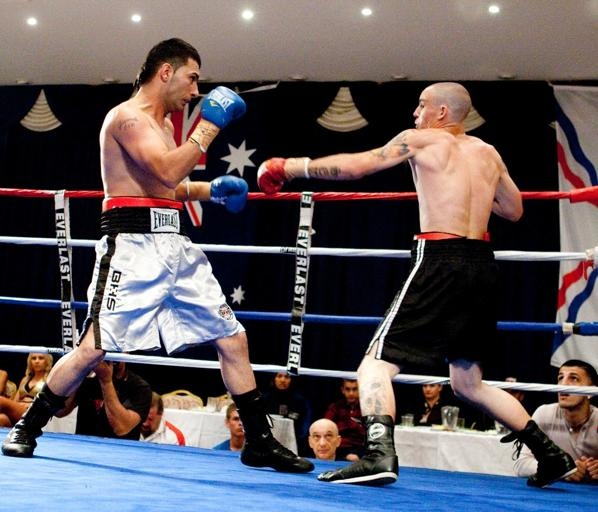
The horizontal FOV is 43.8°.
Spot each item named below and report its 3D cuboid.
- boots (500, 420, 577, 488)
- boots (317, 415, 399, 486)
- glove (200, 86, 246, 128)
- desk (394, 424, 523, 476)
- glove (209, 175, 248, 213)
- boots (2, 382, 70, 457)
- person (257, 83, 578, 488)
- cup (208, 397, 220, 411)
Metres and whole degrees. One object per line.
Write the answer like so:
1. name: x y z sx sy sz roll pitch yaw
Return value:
1. boots: 1.016 0.844 3.141 0.112 0.225 0.237 -17 -29 -47
2. boots: 0.232 0.758 2.917 0.334 0.247 0.130 -15 -28 30
3. glove: -0.328 -0.629 3.158 0.185 0.144 0.079 -39 -22 -17
4. desk: 1.055 1.328 5.088 0.607 0.202 0.583 10 -13 -41
5. glove: -0.323 -0.293 3.417 0.159 0.147 0.117 23 35 19
6. boots: -1.118 0.661 3.043 0.201 0.288 0.243 2 2 39
7. person: 0.528 0.097 3.108 1.160 1.711 0.531 1 1 -18
8. cup: -0.696 1.173 5.929 0.091 0.082 0.050 0 -4 32
